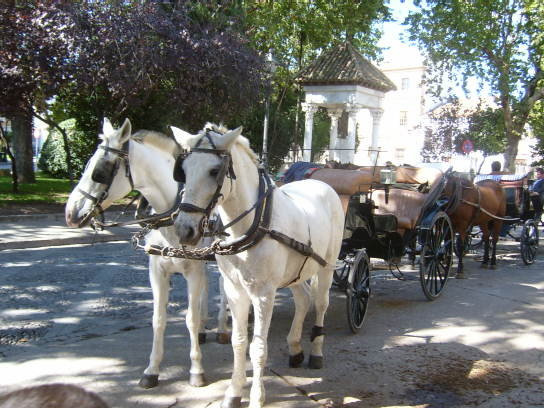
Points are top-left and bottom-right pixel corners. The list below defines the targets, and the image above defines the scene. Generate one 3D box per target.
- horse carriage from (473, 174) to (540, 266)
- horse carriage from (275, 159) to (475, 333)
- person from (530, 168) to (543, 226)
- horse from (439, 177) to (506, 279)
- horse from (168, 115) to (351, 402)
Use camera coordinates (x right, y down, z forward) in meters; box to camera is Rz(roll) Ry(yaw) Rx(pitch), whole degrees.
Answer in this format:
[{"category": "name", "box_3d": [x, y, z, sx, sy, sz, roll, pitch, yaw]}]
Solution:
[{"category": "horse carriage", "box_3d": [6.956, 0.280, 14.690, 1.944, 2.753, 2.864, 2, 7, 33]}, {"category": "horse carriage", "box_3d": [1.975, 0.543, 10.175, 2.108, 2.691, 4.589, 2, 2, 30]}, {"category": "person", "box_3d": [7.090, -0.070, 14.978, 0.293, 1.202, 0.926, 2, 3, 26]}, {"category": "horse", "box_3d": [4.652, 0.500, 12.757, 0.782, 2.163, 2.904, 2, 2, 32]}, {"category": "horse", "box_3d": [-0.076, 0.709, 6.797, 1.763, 3.102, 2.660, 1, 2, 6]}]
